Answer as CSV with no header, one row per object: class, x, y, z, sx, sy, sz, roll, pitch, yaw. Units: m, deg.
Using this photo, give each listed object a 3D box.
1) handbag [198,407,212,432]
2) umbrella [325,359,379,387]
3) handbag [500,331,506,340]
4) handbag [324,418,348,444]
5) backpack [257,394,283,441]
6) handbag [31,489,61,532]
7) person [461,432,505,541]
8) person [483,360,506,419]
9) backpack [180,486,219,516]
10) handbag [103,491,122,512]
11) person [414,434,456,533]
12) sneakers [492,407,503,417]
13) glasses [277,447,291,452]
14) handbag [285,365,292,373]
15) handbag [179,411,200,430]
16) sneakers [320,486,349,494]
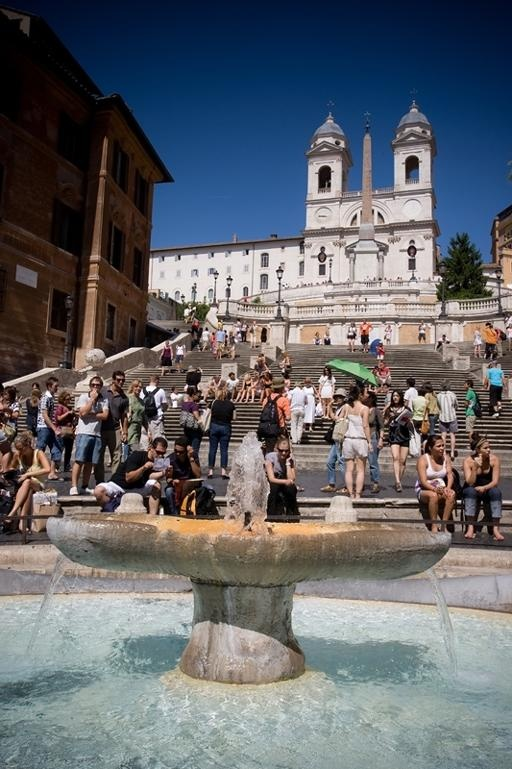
handbag,-0.879,0.629,10.420,0.157,0.418,0.390,-2,-6,15
umbrella,2.391,-0.376,15.039,1.038,0.378,1.053,23,1,28
handbag,12.437,-2.467,30.219,0.405,0.573,0.236,25,-26,-36
handbag,1.299,0.766,9.754,0.322,0.411,0.656,2,-5,4
backpack,0.259,0.582,10.203,0.414,0.768,0.409,1,-5,15
handbag,-2.451,1.482,7.044,0.343,0.408,0.741,4,-5,-19
person,2.740,1.231,7.262,0.452,1.147,1.180,0,-5,20
person,6.665,0.129,16.774,0.433,1.625,1.889,0,-5,21
backpack,-0.577,1.313,6.763,0.428,0.433,0.305,1,-7,10
handbag,-1.652,1.358,6.875,0.205,0.196,0.327,3,-5,-14
person,2.063,1.152,6.919,0.472,1.126,1.545,0,-5,17
sneakers,6.494,0.764,16.124,0.175,0.241,0.538,-5,-17,6
glasses,0.352,0.825,7.430,0.169,0.085,0.143,3,-5,-8
handbag,0.981,-0.465,17.930,0.232,0.139,0.386,-1,-4,-1
handbag,-1.068,0.578,9.757,0.300,0.297,0.161,11,19,-2
sneakers,1.227,1.649,9.357,0.427,0.192,0.150,6,-14,8
